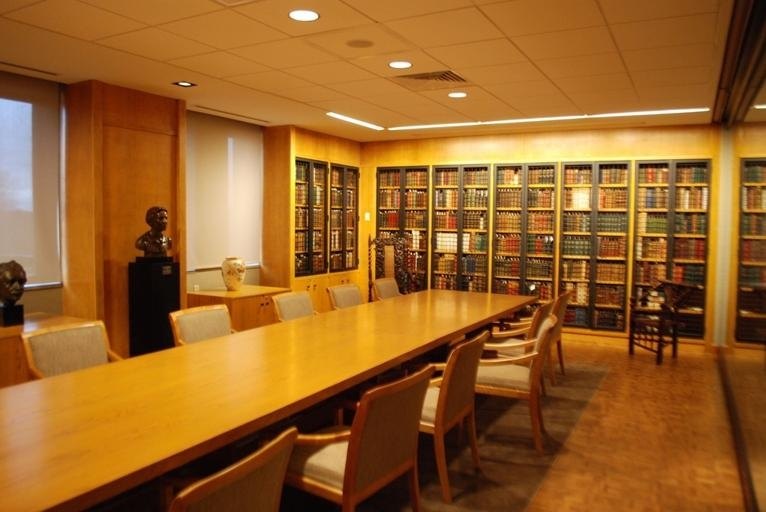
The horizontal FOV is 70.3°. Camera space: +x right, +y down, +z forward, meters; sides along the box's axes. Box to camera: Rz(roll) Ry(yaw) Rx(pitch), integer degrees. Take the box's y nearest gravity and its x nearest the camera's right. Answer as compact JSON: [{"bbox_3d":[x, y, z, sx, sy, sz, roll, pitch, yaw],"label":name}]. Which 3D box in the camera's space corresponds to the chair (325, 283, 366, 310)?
[{"bbox_3d":[-0.480,0.472,6.555,0.301,0.440,0.322,-3,1,-38],"label":"chair"}]

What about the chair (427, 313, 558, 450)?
[{"bbox_3d":[1.152,1.129,5.359,1.079,1.425,0.999,1,1,22],"label":"chair"}]

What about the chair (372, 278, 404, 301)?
[{"bbox_3d":[0.027,0.436,7.090,0.254,0.360,0.283,-3,1,-28],"label":"chair"}]

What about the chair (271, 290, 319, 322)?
[{"bbox_3d":[-0.978,0.529,5.935,0.296,0.467,0.350,-4,1,-38],"label":"chair"}]

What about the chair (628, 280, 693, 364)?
[{"bbox_3d":[3.995,0.887,7.854,0.792,1.106,1.259,7,11,31],"label":"chair"}]

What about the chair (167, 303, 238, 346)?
[{"bbox_3d":[-1.651,0.589,5.024,0.386,0.610,0.393,-5,3,-44],"label":"chair"}]

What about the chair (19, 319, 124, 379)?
[{"bbox_3d":[-2.592,0.647,4.555,0.504,0.768,0.490,-1,3,44],"label":"chair"}]
